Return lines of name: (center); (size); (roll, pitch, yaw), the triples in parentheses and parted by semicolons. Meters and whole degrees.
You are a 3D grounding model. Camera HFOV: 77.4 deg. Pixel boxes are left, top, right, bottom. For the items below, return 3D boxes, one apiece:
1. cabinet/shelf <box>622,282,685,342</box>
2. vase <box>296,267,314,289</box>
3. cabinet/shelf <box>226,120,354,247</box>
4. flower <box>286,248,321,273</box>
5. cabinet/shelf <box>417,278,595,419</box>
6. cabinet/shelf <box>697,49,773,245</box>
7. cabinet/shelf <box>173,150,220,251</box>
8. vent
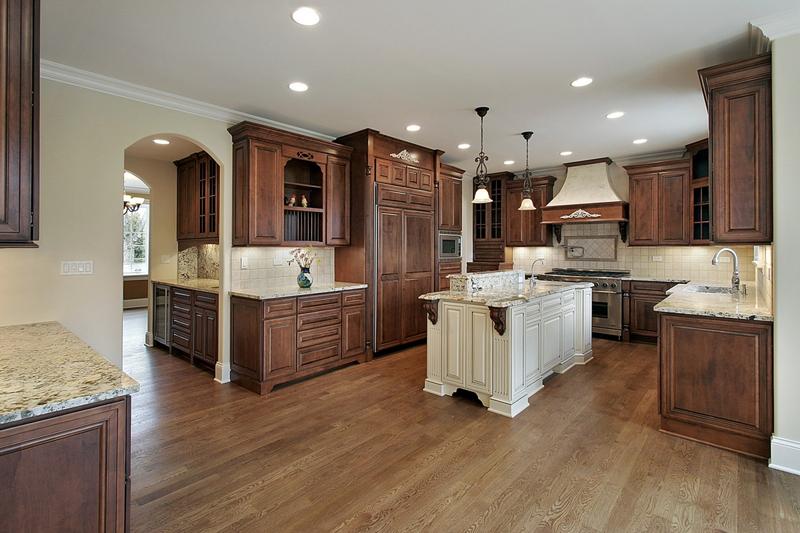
cabinet/shelf: (3.606, 0.648, 7.257); (0.659, 0.939, 0.164); (0, 4, 40)
vase: (-1.165, 0.146, 6.157); (0.218, 0.305, 0.220); (2, -10, -14)
cabinet/shelf: (-1.372, -1.009, 6.016); (0.409, 1.319, 1.518); (0, 0, 40)
flower: (-1.234, -0.082, 6.523); (0.286, 0.317, 0.495); (-2, 3, 21)
cabinet/shelf: (1.286, 0.750, 5.733); (1.945, 1.389, 0.977); (-5, 4, -43)
cabinet/shelf: (2.882, -0.971, 4.285); (0.497, 1.572, 0.127); (-1, 4, 31)
cabinet/shelf: (-2.675, -0.887, 6.620); (0.362, 1.235, 1.232); (4, -7, -41)
vent: (3.012, -1.179, 7.998); (1.234, 0.959, 0.721); (3, 8, 45)
